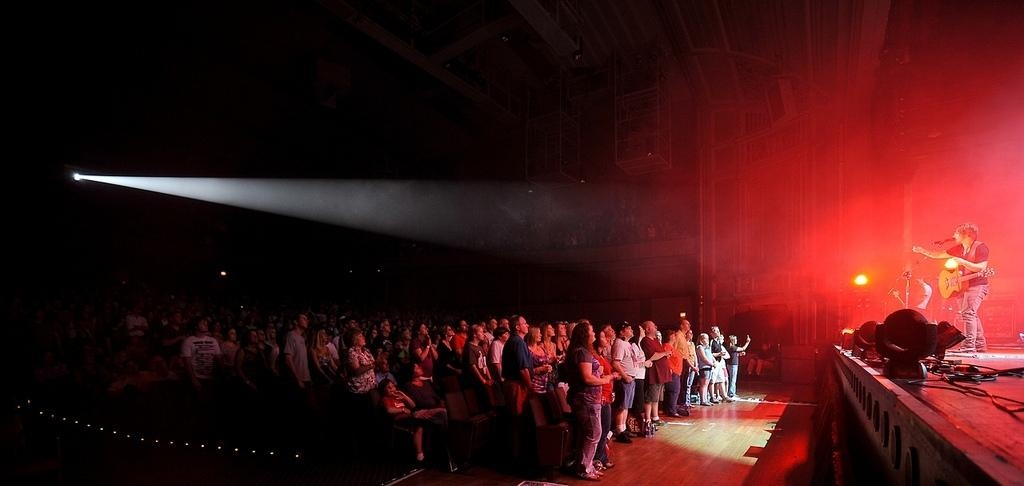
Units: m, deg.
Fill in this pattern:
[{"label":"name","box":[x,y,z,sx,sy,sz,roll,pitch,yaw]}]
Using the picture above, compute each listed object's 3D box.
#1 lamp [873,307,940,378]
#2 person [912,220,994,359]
[{"label":"lamp","box":[8.021,2.015,11.174,0.934,1.317,1.144,12,-12,-20]},{"label":"person","box":[11.331,1.129,14.086,1.104,3.140,0.913,2,-6,-13]}]
